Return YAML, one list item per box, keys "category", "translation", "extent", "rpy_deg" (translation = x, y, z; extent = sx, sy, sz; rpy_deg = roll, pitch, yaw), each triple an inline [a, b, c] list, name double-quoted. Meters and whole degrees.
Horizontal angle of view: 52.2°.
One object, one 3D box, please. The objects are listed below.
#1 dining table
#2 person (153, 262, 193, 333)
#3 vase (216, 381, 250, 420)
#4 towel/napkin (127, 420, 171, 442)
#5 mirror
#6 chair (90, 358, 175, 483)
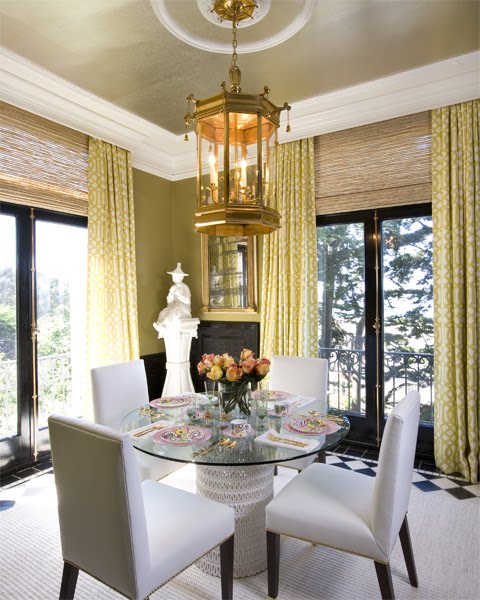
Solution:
- category: "dining table"
  translation: [-0.007, 0.893, 2.413]
  extent: [0.828, 0.482, 0.804]
  rpy_deg: [-8, 11, -31]
- category: "person"
  translation: [-0.625, 0.023, 4.783]
  extent: [0.407, 0.768, 0.370]
  rpy_deg: [5, 9, -3]
- category: "vase"
  translation: [-0.035, 0.525, 2.557]
  extent: [0.187, 0.185, 0.182]
  rpy_deg: [-1, -3, 0]
- category: "towel/napkin"
  translation: [-0.441, 0.636, 2.395]
  extent: [0.113, 0.032, 0.190]
  rpy_deg: [3, 4, 24]
- category: "mirror"
  translation: [-0.107, -0.246, 4.795]
  extent: [0.692, 0.770, 0.088]
  rpy_deg: [3, 5, 40]
- category: "chair"
  translation: [-0.628, 0.704, 3.036]
  extent: [0.502, 0.628, 0.475]
  rpy_deg: [-7, 9, -14]
